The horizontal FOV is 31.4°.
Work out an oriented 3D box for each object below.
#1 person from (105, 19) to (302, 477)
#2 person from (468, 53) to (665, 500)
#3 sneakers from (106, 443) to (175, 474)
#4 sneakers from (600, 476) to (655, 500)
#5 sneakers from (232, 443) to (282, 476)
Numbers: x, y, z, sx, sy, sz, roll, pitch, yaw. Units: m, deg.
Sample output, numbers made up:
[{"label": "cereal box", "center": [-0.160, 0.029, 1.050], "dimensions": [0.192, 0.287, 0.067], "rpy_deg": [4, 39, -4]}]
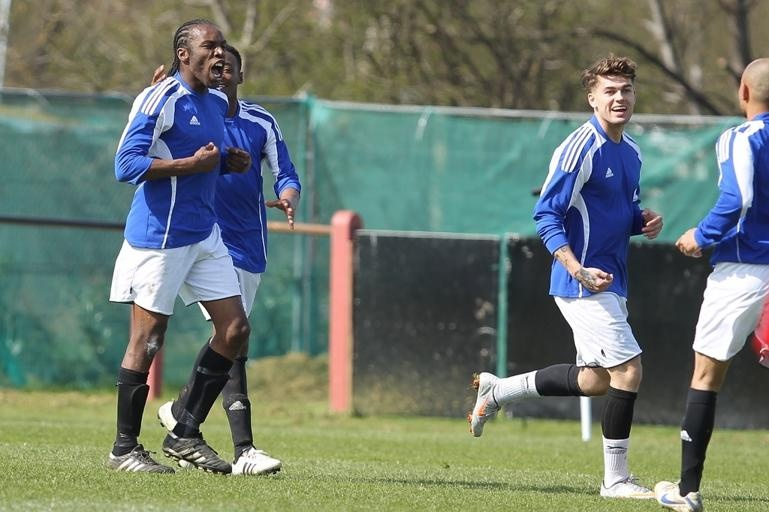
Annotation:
[{"label": "person", "center": [-1.813, -0.087, 12.040], "dimensions": [1.160, 3.963, 0.508], "rpy_deg": [1, -2, -11]}, {"label": "person", "center": [1.769, 0.180, 12.202], "dimensions": [1.349, 3.829, 0.688], "rpy_deg": [0, -2, 12]}, {"label": "sneakers", "center": [-2.168, 1.765, 11.982], "dimensions": [0.661, 0.277, 0.224], "rpy_deg": [1, -6, 7]}, {"label": "sneakers", "center": [2.146, 2.031, 12.013], "dimensions": [0.496, 0.188, 0.176], "rpy_deg": [-2, -10, 12]}, {"label": "sneakers", "center": [-1.145, 1.813, 12.106], "dimensions": [0.505, 0.227, 0.181], "rpy_deg": [-5, -2, 18]}]
